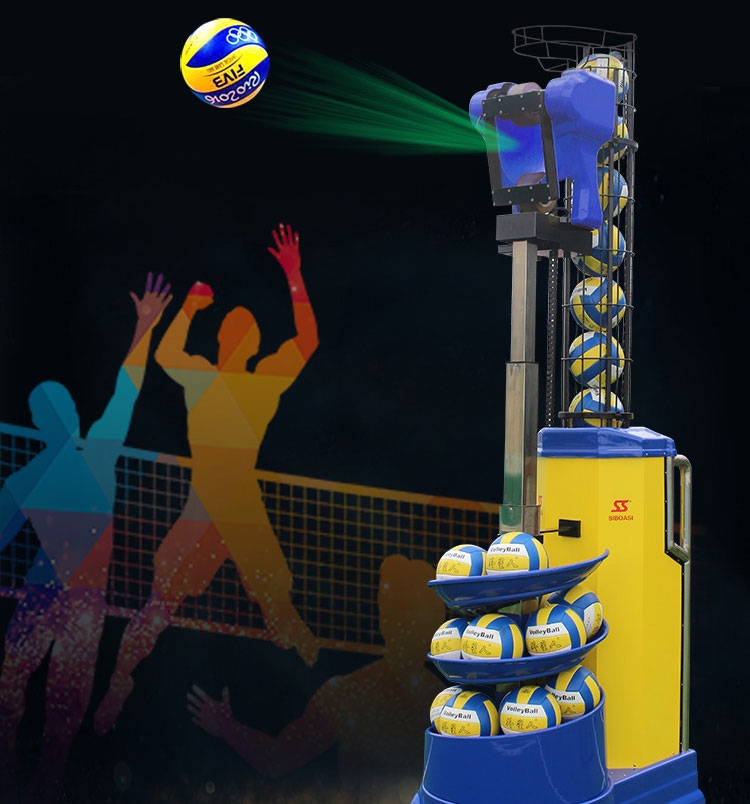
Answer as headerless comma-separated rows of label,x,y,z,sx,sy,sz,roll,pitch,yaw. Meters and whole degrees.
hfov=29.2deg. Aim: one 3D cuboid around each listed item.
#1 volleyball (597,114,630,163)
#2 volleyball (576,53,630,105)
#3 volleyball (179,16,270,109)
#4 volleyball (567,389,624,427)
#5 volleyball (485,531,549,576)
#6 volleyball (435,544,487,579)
volleyball,0.862,-0.904,4.963,0.154,0.140,0.121,6,15,20
volleyball,0.779,-1.113,4.998,0.147,0.212,0.203,-1,19,1
volleyball,-0.617,-1.332,5.855,0.350,0.421,0.327,-14,28,-13
volleyball,0.777,0.022,5.000,0.148,0.175,0.138,3,1,-19
volleyball,0.447,0.477,4.567,0.136,0.151,0.138,0,-4,23
volleyball,0.285,0.511,4.647,0.116,0.128,0.116,6,-10,-7
